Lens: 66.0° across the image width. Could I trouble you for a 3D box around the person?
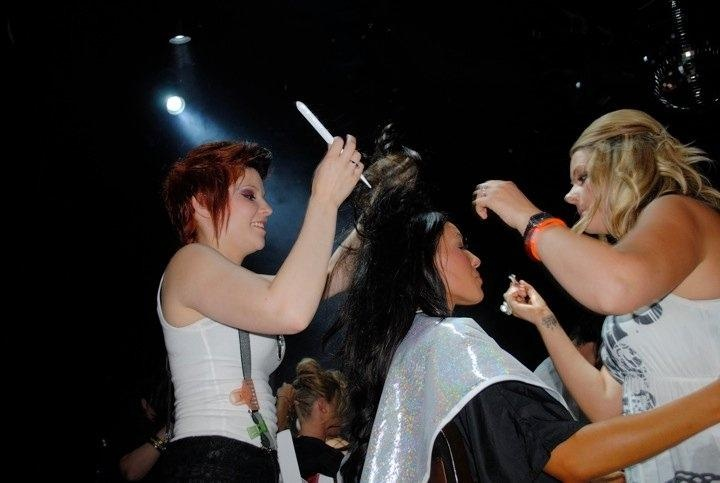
[{"bbox_3d":[0.497,0.176,2.126,1.264,1.309,0.681,-7,-2,2],"label":"person"}]
